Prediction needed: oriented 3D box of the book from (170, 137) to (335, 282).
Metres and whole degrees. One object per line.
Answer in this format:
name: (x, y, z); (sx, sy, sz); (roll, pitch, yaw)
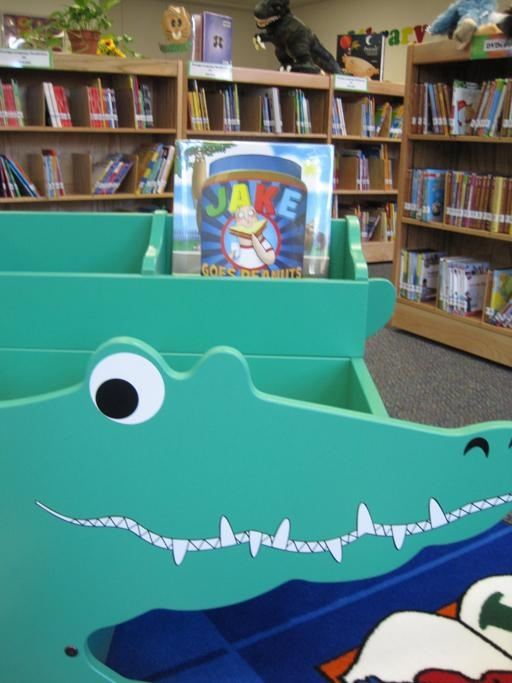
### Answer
book: (-0.011, -0.262, 1.005); (0.274, 0.272, 0.031); (2, 16, 3)
